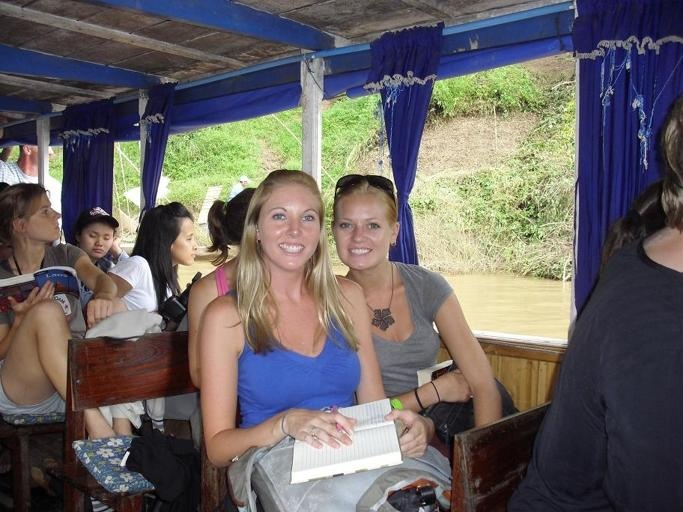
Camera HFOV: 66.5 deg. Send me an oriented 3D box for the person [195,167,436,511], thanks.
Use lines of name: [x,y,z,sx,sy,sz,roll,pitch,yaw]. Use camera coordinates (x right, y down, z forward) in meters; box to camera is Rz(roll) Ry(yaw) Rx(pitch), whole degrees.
person: [-0.277,0.327,2.459,0.975,1.559,1.260,-2,-8,-32]

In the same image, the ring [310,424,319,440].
ring: [-0.093,0.614,1.805,0.035,0.039,0.020,27,15,32]

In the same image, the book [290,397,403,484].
book: [0.014,0.619,1.733,0.251,0.061,0.254,-12,22,5]
